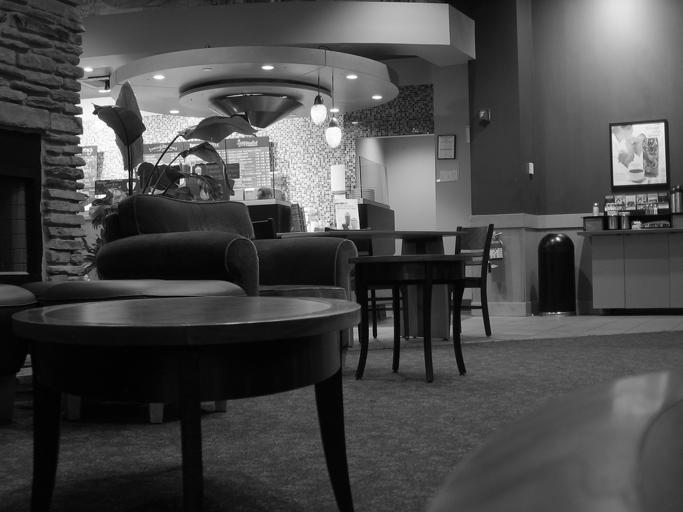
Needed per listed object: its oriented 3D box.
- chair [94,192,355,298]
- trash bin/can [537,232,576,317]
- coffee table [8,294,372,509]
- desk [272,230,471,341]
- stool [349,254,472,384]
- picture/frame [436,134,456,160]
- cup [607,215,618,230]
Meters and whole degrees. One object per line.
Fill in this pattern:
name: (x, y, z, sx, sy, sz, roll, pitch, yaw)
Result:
chair: (-0.511, -0.033, 2.972, 1.282, 0.536, 0.674, -2, 7, -25)
trash bin/can: (2.555, 0.228, 6.775, 0.441, 0.945, 0.236, 3, 7, 16)
coffee table: (-0.233, 0.168, 1.036, 0.519, 0.335, 0.512, 3, -5, -41)
desk: (0.447, 0.170, 4.460, 1.044, 0.699, 1.077, -3, -5, 28)
stool: (0.420, 0.258, 3.106, 0.622, 0.708, 0.615, 1, 4, 43)
picture/frame: (1.490, -1.539, 8.150, 0.337, 0.438, 0.034, 1, -3, 15)
cup: (2.989, -0.360, 6.326, 0.131, 0.160, 0.136, 0, -6, 0)
